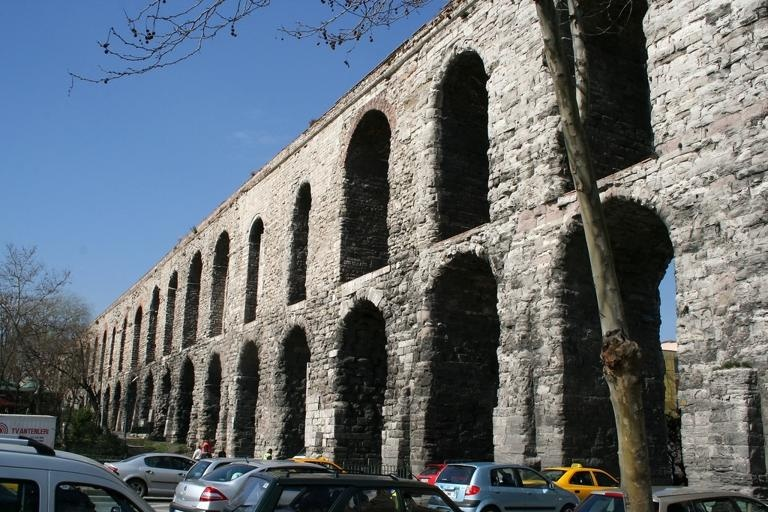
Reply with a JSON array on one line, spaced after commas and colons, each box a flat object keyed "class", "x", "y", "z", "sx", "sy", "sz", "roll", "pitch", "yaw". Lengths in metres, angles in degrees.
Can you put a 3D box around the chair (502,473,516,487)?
[{"class": "chair", "x": 2.665, "y": 4.780, "z": 16.807, "sx": 0.262, "sy": 0.247, "sz": 0.319, "roll": -1, "pitch": 17, "yaw": 13}]
